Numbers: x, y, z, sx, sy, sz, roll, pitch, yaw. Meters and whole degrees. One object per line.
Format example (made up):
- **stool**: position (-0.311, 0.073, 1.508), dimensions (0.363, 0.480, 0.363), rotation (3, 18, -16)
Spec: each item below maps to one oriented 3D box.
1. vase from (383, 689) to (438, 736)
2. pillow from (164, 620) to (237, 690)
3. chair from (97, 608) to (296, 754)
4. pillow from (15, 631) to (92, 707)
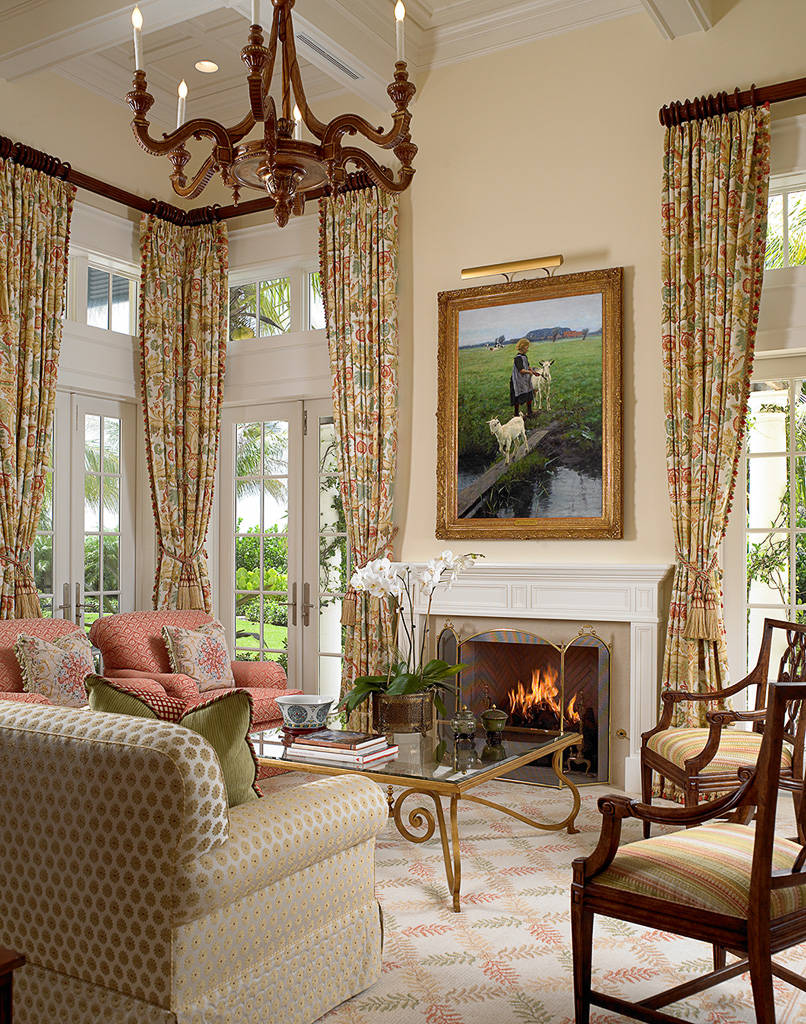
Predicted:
- **vase**: position (0.025, 0.825, 3.567), dimensions (0.188, 0.132, 0.184), rotation (0, 1, -8)
- **pillow**: position (-1.120, 0.824, 4.908), dimensions (0.203, 0.362, 0.427), rotation (7, 3, 30)
- **chair**: position (-1.108, 0.818, 4.676), dimensions (0.906, 0.921, 0.882), rotation (-4, -4, 38)
- **pillow**: position (-1.574, 0.718, 3.925), dimensions (0.137, 0.400, 0.437), rotation (-22, -18, 24)
